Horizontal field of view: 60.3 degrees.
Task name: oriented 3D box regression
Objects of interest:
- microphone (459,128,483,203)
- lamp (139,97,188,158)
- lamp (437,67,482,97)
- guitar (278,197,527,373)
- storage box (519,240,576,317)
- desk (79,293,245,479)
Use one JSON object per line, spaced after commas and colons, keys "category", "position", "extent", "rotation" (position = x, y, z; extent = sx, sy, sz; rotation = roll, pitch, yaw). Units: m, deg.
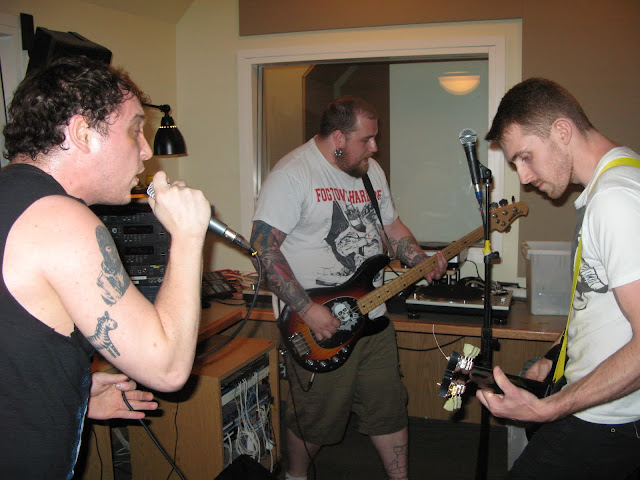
{"category": "microphone", "position": [0.653, -0.335, 2.316], "extent": [0.084, 0.346, 0.064], "rotation": [-11, 3, -4]}
{"category": "lamp", "position": [-0.933, -0.640, 3.153], "extent": [0.304, 0.329, 0.175], "rotation": [-9, 16, -23]}
{"category": "lamp", "position": [0.969, -1.095, 3.829], "extent": [0.048, 0.162, 0.327], "rotation": [-7, 12, -41]}
{"category": "guitar", "position": [0.517, 0.009, 3.063], "extent": [1.832, 0.557, 0.244], "rotation": [-35, 13, -20]}
{"category": "storage box", "position": [1.188, 0.197, 3.021], "extent": [0.329, 0.406, 0.526], "rotation": [0, 0, 15]}
{"category": "desk", "position": [-0.736, 0.796, 2.880], "extent": [1.153, 0.829, 0.659], "rotation": [-2, 2, -9]}
